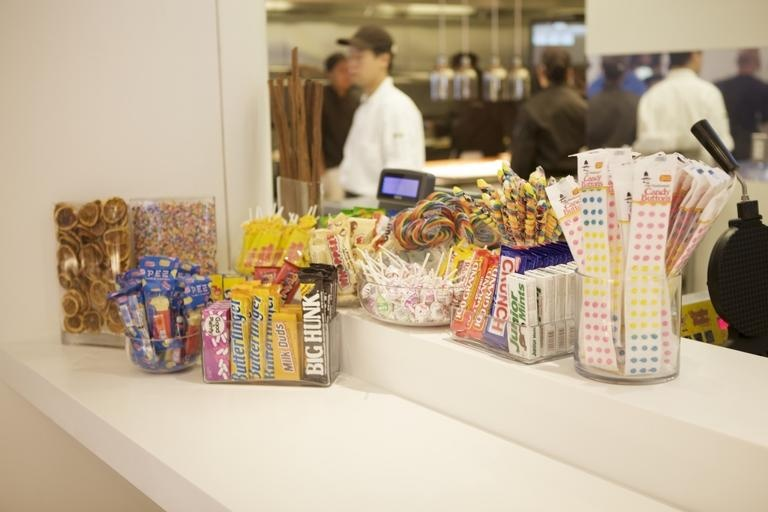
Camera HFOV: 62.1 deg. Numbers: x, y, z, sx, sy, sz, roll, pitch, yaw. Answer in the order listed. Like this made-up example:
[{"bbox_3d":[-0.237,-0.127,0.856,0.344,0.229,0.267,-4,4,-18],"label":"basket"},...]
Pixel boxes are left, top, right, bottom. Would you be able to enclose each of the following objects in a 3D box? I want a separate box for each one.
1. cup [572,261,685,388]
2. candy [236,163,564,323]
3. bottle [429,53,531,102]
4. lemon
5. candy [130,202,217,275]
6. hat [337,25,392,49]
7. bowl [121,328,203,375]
[{"bbox_3d":[0.462,0.137,1.366,0.216,0.245,0.215,0,2,0],"label":"cup"},{"bbox_3d":[0.058,-0.053,1.611,0.754,0.352,0.240,2,14,23],"label":"candy"},{"bbox_3d":[0.705,-1.309,4.650,0.514,0.244,0.109,0,24,4],"label":"bottle"},{"bbox_3d":[-0.854,0.031,1.880,0.213,0.384,0.099,-2,13,9],"label":"lemon"},{"bbox_3d":[-0.611,-0.047,1.904,0.215,0.218,0.211,-1,3,-8],"label":"candy"},{"bbox_3d":[-0.123,-1.529,4.486,0.338,0.126,0.216,3,12,-33],"label":"hat"},{"bbox_3d":[-0.625,0.245,1.741,0.148,0.083,0.153,-1,0,0],"label":"bowl"}]
